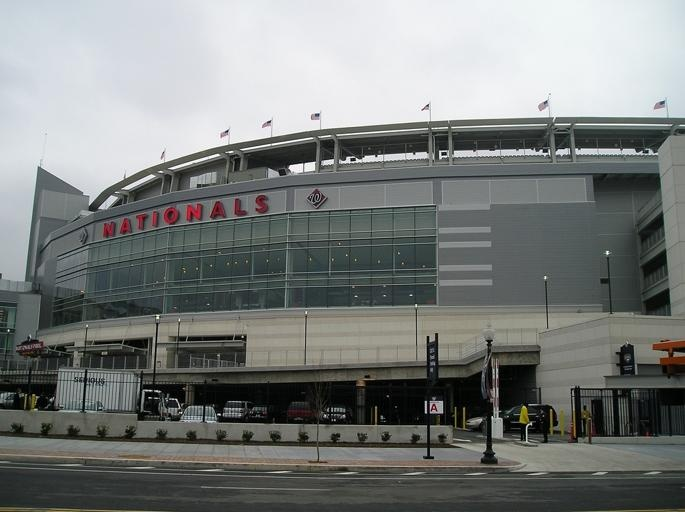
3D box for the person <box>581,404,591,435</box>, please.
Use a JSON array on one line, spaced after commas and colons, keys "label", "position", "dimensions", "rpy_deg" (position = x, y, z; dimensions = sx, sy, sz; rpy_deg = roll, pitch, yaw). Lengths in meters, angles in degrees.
[{"label": "person", "position": [13.692, 9.250, 34.229], "dimensions": [0.479, 1.409, 1.107], "rpy_deg": [-8, -19, 16]}]
